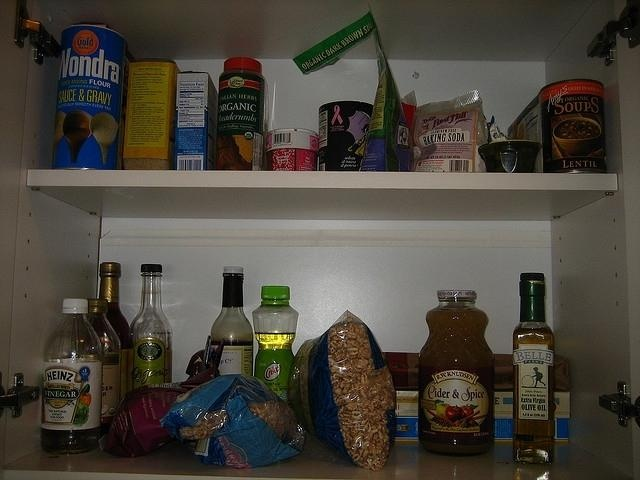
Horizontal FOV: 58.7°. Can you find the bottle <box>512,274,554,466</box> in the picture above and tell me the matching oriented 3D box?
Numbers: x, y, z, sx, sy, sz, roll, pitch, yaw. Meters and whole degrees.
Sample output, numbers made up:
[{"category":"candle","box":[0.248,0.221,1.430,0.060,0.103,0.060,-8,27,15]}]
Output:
[{"category":"bottle","box":[0.414,0.247,1.109,0.083,0.364,0.075,-1,-3,0]}]

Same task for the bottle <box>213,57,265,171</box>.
[{"category":"bottle","box":[-0.165,-0.262,1.187,0.103,0.243,0.067,-1,-3,-11]}]

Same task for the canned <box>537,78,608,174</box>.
[{"category":"canned","box":[0.508,-0.225,1.137,0.116,0.188,0.050,-3,-3,26]}]
